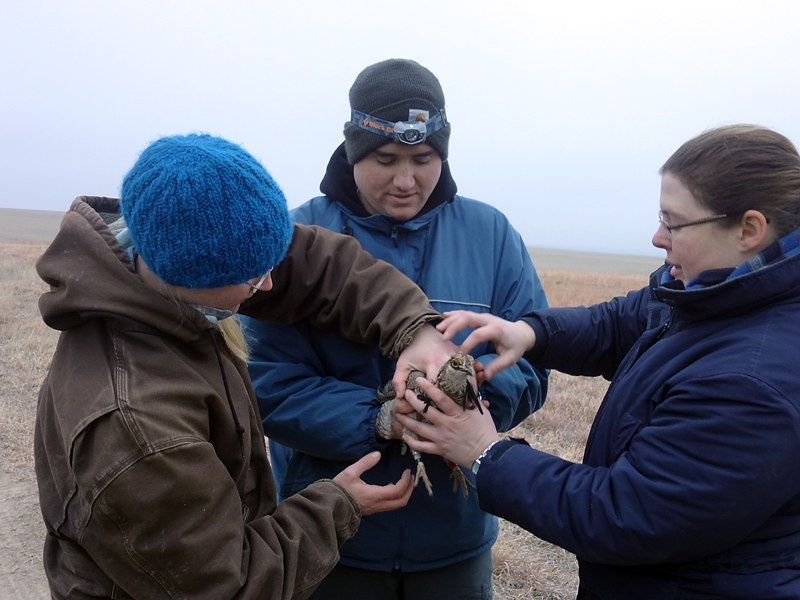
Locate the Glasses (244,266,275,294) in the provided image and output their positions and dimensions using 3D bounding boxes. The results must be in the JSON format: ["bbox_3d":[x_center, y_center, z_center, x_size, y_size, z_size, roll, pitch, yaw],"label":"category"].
[{"bbox_3d":[-0.614,-0.080,2.923,0.109,0.035,0.114,-31,17,8],"label":"Glasses"}]

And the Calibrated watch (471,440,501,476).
[{"bbox_3d":[0.409,0.754,3.174,0.038,0.149,0.140,35,13,10],"label":"Calibrated watch"}]

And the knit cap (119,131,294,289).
[{"bbox_3d":[-0.782,-0.337,2.696,0.624,0.563,0.229,3,9,-15],"label":"knit cap"}]

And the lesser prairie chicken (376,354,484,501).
[{"bbox_3d":[0.182,0.470,3.499,0.332,0.489,0.657,-11,16,-31],"label":"lesser prairie chicken"}]

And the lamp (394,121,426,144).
[{"bbox_3d":[0.054,-0.885,3.514,0.101,0.069,0.142,1,35,-1],"label":"lamp"}]
